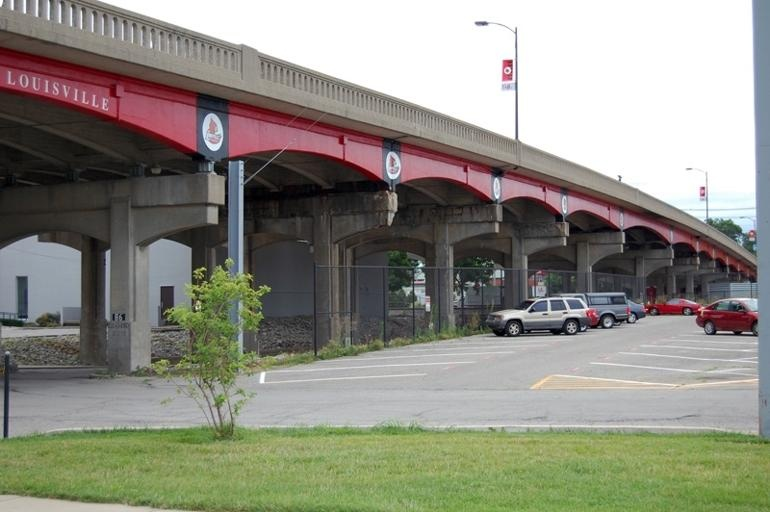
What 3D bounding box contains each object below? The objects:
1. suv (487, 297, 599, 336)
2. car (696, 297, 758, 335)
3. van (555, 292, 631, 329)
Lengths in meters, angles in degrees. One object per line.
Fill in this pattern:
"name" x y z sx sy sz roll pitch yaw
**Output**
"suv" 7.510 2.999 57.963 4.486 1.823 2.109 2 -4 -10
"car" 16.305 2.941 56.313 1.926 1.683 4.105 4 -9 -41
"van" 11.362 3.270 64.115 5.422 2.471 2.687 -3 -1 36
